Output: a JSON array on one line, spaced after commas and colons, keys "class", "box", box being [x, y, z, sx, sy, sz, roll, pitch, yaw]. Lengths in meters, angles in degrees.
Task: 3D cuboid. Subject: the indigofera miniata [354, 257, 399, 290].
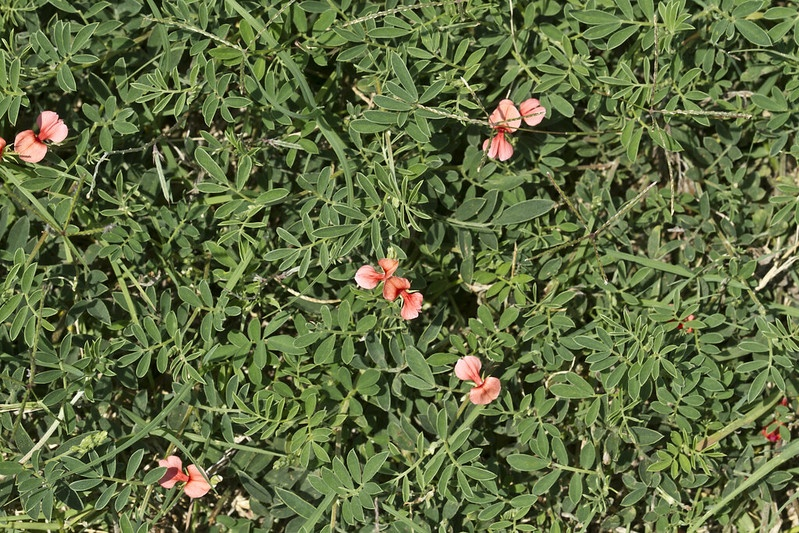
[{"class": "indigofera miniata", "box": [-0.079, 0.031, 2.528, 0.158, 0.112, 0.086, -15, 76, -6]}]

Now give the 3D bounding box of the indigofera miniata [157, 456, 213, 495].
[{"class": "indigofera miniata", "box": [-0.811, 0.813, 2.620, 0.170, 0.286, 0.047, -12, 71, -13]}]

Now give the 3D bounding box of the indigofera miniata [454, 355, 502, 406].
[{"class": "indigofera miniata", "box": [0.292, 0.422, 2.547, 0.132, 0.032, 0.207, -23, 39, -7]}]

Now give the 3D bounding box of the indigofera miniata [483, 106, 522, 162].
[{"class": "indigofera miniata", "box": [0.401, -0.491, 2.653, 0.129, 0.060, 0.210, 24, 99, 24]}]

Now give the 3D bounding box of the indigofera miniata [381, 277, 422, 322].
[{"class": "indigofera miniata", "box": [0.015, 0.105, 2.545, 0.043, 0.232, 0.163, -24, 88, 21]}]
